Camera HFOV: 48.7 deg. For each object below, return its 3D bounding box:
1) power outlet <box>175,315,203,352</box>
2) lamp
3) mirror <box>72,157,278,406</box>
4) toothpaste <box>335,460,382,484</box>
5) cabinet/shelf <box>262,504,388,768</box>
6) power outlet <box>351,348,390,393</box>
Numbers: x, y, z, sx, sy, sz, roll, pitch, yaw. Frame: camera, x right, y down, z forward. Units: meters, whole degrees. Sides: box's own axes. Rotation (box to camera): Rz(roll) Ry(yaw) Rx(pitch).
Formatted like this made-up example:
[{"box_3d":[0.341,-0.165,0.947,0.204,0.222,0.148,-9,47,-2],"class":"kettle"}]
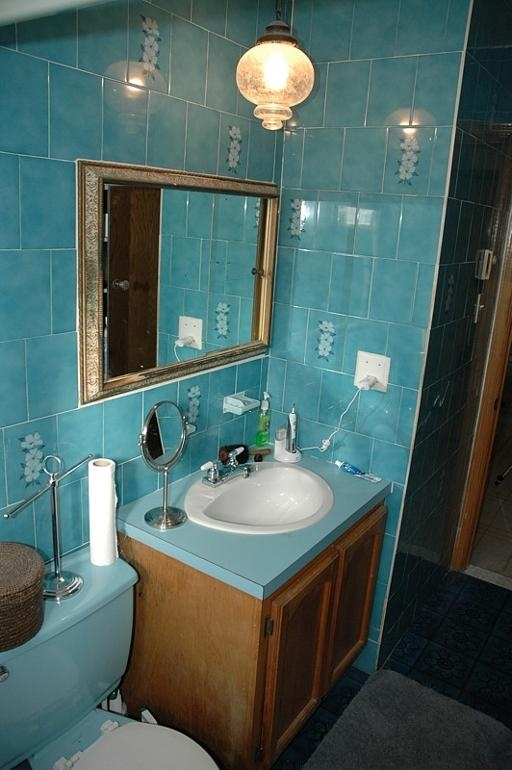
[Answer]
[{"box_3d":[-0.190,-0.149,1.649,0.019,0.085,0.082,6,6,34],"class":"power outlet"},{"box_3d":[0.049,-0.708,1.241,0.161,0.256,0.178,9,15,19],"class":"lamp"},{"box_3d":[-0.225,-0.293,1.529,0.031,0.533,0.727,13,19,28],"class":"mirror"},{"box_3d":[0.349,0.299,1.913,0.168,0.041,0.049,26,51,33],"class":"toothpaste"},{"box_3d":[0.178,0.670,1.525,0.230,0.573,0.569,9,23,28],"class":"cabinet/shelf"},{"box_3d":[0.371,-0.037,1.846,0.058,0.136,0.126,-8,19,-41],"class":"power outlet"}]
